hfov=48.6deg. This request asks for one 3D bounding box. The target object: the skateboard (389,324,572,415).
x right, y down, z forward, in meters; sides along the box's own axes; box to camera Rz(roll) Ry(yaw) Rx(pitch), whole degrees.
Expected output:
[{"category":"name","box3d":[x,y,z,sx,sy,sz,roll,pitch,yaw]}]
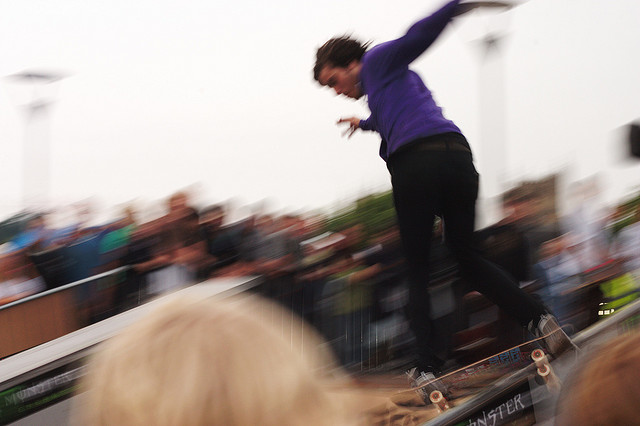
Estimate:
[{"category":"skateboard","box3d":[0.470,0.572,2.593,0.861,0.203,0.134,-15,21,-12]}]
